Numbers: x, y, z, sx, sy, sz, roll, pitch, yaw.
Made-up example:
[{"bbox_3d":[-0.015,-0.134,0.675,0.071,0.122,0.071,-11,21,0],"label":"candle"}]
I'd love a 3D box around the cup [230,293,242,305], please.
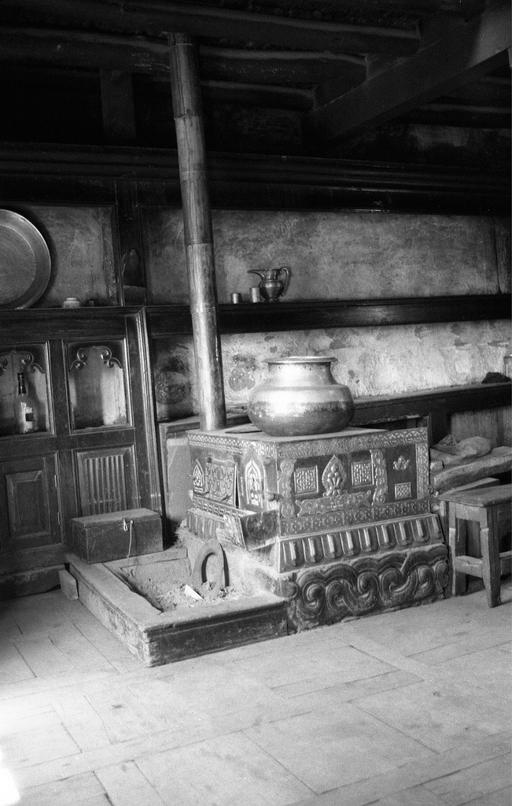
[{"bbox_3d":[-0.128,-0.701,4.237,0.080,0.099,0.081,-2,1,0],"label":"cup"}]

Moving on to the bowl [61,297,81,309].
[{"bbox_3d":[-1.096,-0.592,3.773,0.106,0.085,0.109,-1,1,0],"label":"bowl"}]

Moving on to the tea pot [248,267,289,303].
[{"bbox_3d":[0.092,-0.822,4.393,0.288,0.268,0.202,0,6,2],"label":"tea pot"}]

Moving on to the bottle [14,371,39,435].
[{"bbox_3d":[-1.350,-0.006,3.765,0.121,0.366,0.093,0,-4,-31],"label":"bottle"}]
